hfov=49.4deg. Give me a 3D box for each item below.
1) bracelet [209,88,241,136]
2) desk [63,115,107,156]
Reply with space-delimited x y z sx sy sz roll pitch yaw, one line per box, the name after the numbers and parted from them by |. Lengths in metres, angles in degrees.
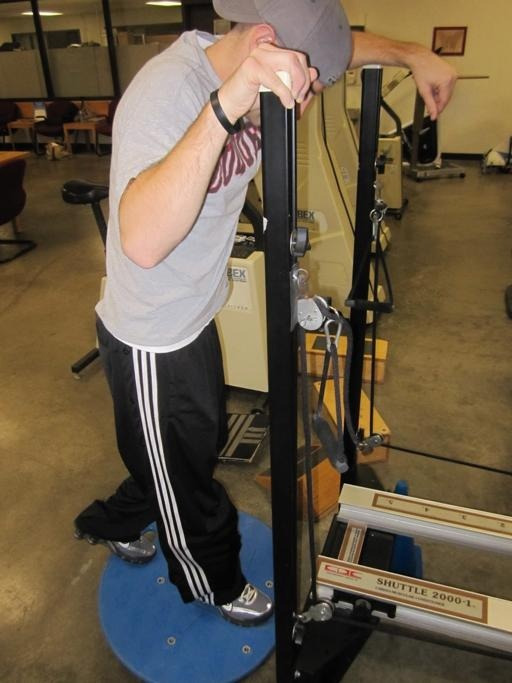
-0.034 -0.281 0.693 0.012 0.047 0.049 -16 29 10 | bracelet
-2.817 -3.402 9.203 0.539 0.518 0.534 -29 47 -25 | desk
